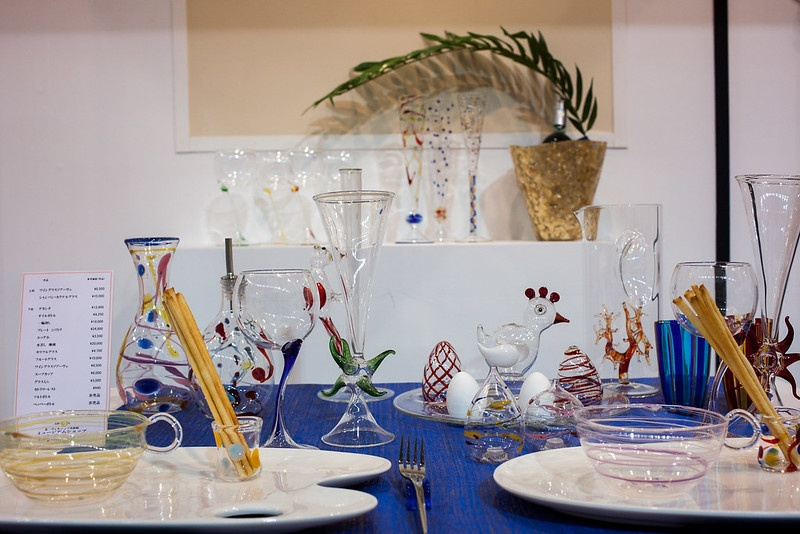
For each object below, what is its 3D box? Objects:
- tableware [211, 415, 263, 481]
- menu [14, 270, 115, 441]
[{"bbox_3d":[-0.310,0.353,1.493,0.092,0.116,0.100,1,4,29],"label":"tableware"},{"bbox_3d":[-0.708,0.151,1.596,0.211,0.025,0.386,4,45,-25],"label":"menu"}]
